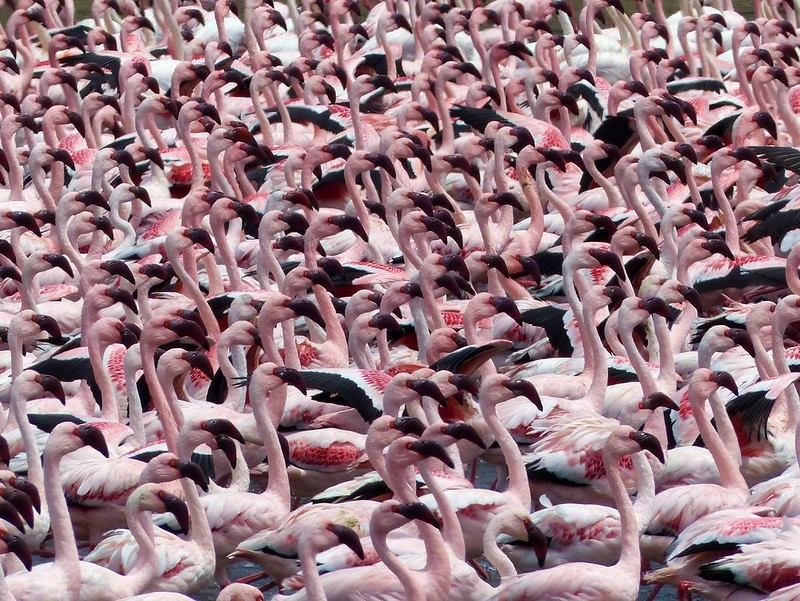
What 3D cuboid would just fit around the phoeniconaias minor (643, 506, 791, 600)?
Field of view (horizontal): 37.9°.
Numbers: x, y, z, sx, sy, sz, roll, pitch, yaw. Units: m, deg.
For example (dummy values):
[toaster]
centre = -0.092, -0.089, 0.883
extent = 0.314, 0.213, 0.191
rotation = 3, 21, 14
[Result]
[phoeniconaias minor]
centre = 1.962, 1.541, 7.177
extent = 0.885, 0.468, 0.422
rotation = 0, 22, 43
